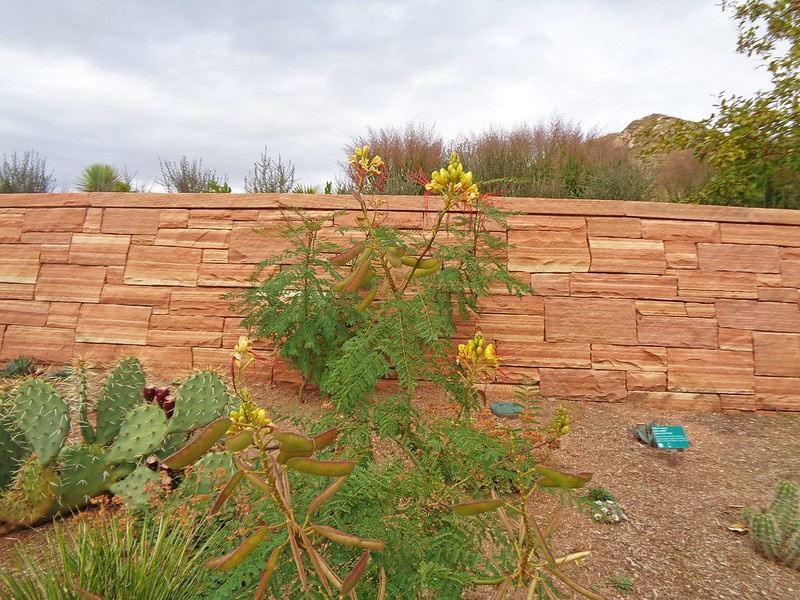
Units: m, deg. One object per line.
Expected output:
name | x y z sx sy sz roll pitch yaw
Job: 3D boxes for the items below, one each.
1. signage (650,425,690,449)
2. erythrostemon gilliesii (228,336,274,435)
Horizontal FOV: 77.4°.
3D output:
signage | 2.545 1.323 4.729 0.283 0.219 0.199 0 3 11
erythrostemon gilliesii | -1.157 0.648 3.947 0.412 1.043 0.468 1 2 -15
